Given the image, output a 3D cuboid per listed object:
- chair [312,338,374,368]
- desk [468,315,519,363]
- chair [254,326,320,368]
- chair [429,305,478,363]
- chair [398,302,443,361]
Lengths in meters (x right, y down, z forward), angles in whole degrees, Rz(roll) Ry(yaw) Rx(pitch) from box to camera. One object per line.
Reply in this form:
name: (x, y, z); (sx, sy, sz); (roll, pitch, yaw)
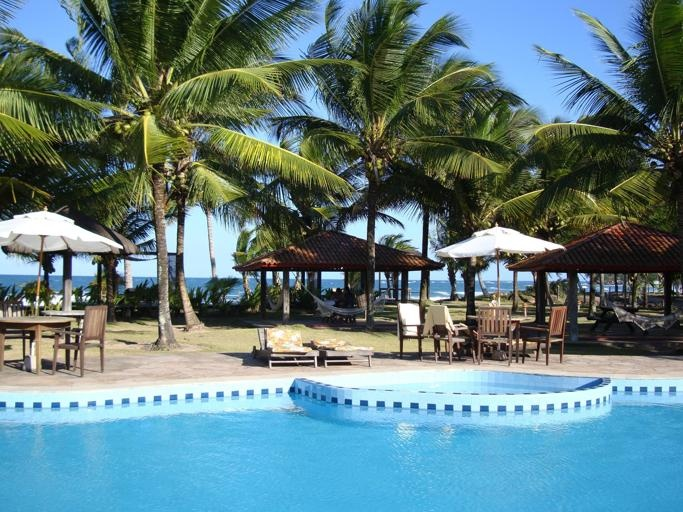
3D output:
chair: (-0.002, 2.429, 16.602); (1.501, 0.620, 0.969); (1, -5, -5)
desk: (3.952, 2.031, 16.949); (0.971, 1.470, 0.958); (0, -4, 20)
chair: (-1.403, 2.271, 16.735); (1.439, 0.952, 1.846); (2, -6, -17)
chair: (2.745, 2.021, 17.609); (1.357, 1.929, 1.376); (-1, 1, -25)
chair: (2.244, 2.029, 18.430); (1.232, 2.096, 1.299); (2, -4, -28)
